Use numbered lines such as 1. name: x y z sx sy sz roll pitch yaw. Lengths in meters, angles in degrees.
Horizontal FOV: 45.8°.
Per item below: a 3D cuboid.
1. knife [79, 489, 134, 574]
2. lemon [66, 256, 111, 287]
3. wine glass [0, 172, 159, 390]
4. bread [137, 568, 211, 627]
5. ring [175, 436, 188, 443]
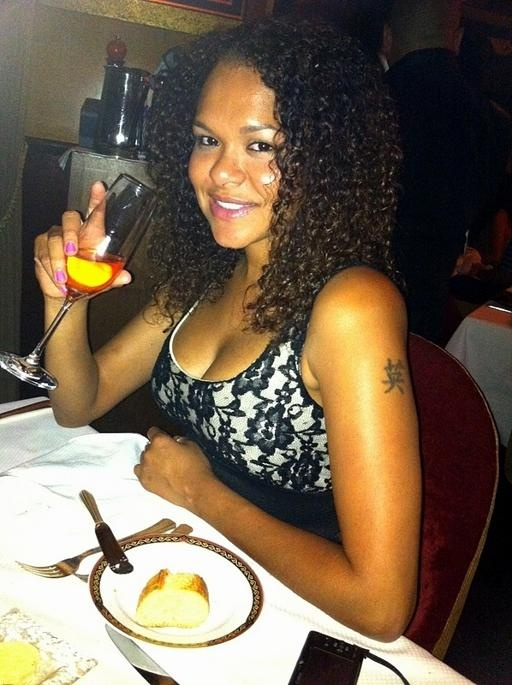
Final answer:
1. knife: -0.201 0.261 0.811 0.036 0.019 0.279 1 8 -22
2. lemon: -0.309 -0.135 1.145 0.069 0.042 0.056 20 24 -9
3. wine glass: -0.354 -0.118 1.182 0.240 0.440 0.176 5 19 -22
4. bread: -0.097 0.306 0.719 0.082 0.030 0.065 9 17 -7
5. ring: -0.150 0.194 1.219 0.019 0.008 0.025 5 5 -18
